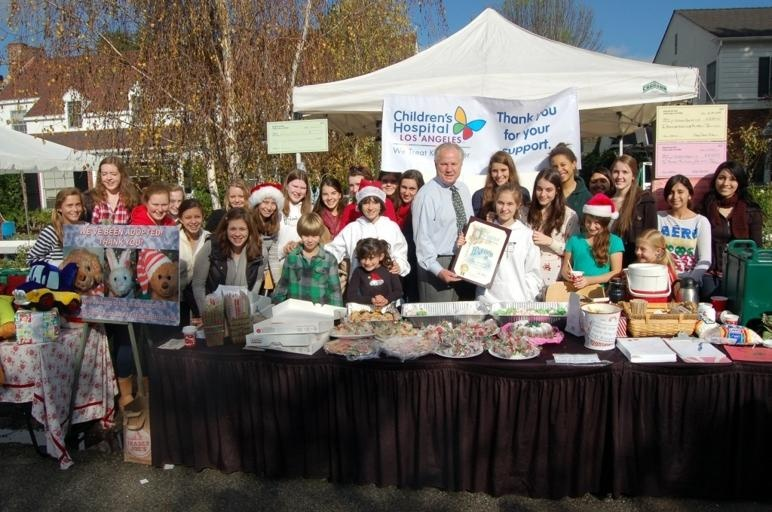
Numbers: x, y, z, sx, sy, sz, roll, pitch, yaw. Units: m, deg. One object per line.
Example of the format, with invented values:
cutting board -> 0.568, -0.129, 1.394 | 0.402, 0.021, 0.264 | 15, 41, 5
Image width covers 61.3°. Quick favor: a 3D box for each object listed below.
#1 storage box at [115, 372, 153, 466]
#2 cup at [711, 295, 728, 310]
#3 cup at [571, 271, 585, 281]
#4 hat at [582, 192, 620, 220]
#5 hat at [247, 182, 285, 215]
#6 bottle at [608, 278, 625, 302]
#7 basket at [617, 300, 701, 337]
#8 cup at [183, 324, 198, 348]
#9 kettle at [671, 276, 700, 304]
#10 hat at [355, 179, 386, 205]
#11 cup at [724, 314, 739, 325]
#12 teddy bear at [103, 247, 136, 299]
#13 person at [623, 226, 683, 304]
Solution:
storage box -> -2.403, 1.678, 6.297 | 0.329, 0.640, 0.131 | 1, 8, 18
cup -> 3.216, 0.448, 6.256 | 0.111, 0.129, 0.119 | -1, 12, 0
cup -> 1.966, 0.191, 6.643 | 0.128, 0.078, 0.067 | -5, 9, -22
hat -> 2.226, -0.524, 6.723 | 0.317, 0.232, 0.243 | 5, 11, 43
hat -> -1.378, -0.675, 7.565 | 0.294, 0.257, 0.326 | 1, -3, -35
bottle -> 2.230, 0.327, 6.321 | 0.150, 0.240, 0.202 | 0, -1, 9
basket -> 2.520, 0.581, 5.986 | 0.486, 0.198, 0.358 | -1, 5, -12
cup -> -1.834, 0.742, 6.178 | 0.162, 0.191, 0.165 | -2, -3, 0
kettle -> 2.876, 0.319, 6.232 | 0.241, 0.273, 0.213 | 0, 2, 34
hat -> -0.178, -0.758, 7.255 | 0.275, 0.218, 0.304 | 2, -6, -3
cup -> 3.203, 0.573, 6.013 | 0.109, 0.082, 0.113 | -3, 6, 0
teddy bear -> -2.628, 0.211, 6.420 | 0.244, 0.628, 0.195 | -2, 15, -14
person -> 2.505, 0.092, 6.449 | 0.534, 0.777, 0.704 | -3, -2, 35
